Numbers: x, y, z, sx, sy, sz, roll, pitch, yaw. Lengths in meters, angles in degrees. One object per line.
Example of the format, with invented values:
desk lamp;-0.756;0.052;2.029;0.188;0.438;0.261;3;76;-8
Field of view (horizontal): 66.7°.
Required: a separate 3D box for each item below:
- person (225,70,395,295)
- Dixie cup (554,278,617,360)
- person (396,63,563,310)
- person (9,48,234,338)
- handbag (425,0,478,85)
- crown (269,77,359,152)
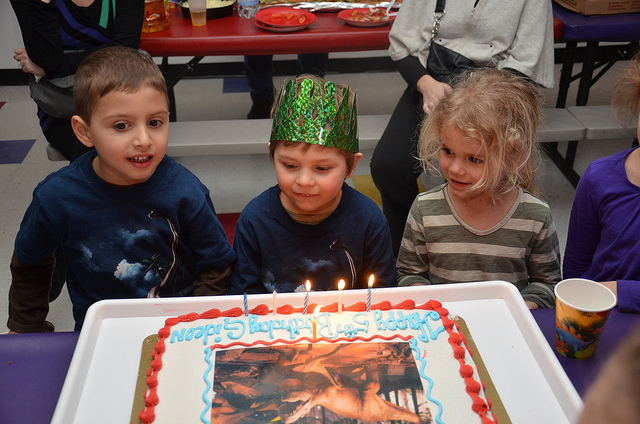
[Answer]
person;-0.032;-0.087;1.950;0.706;0.802;0.504;1;38;0
Dixie cup;0.826;0.339;1.542;0.155;0.200;0.174;-9;39;-11
person;0.716;-0.094;2.004;0.659;0.733;0.693;11;39;13
person;-0.826;-0.054;1.918;0.883;0.929;0.559;-8;39;-11
handbag;0.709;-0.915;2.684;0.334;0.119;0.447;23;55;-4
crown;-0.025;-0.356;1.838;0.295;0.240;0.240;-3;38;-4
